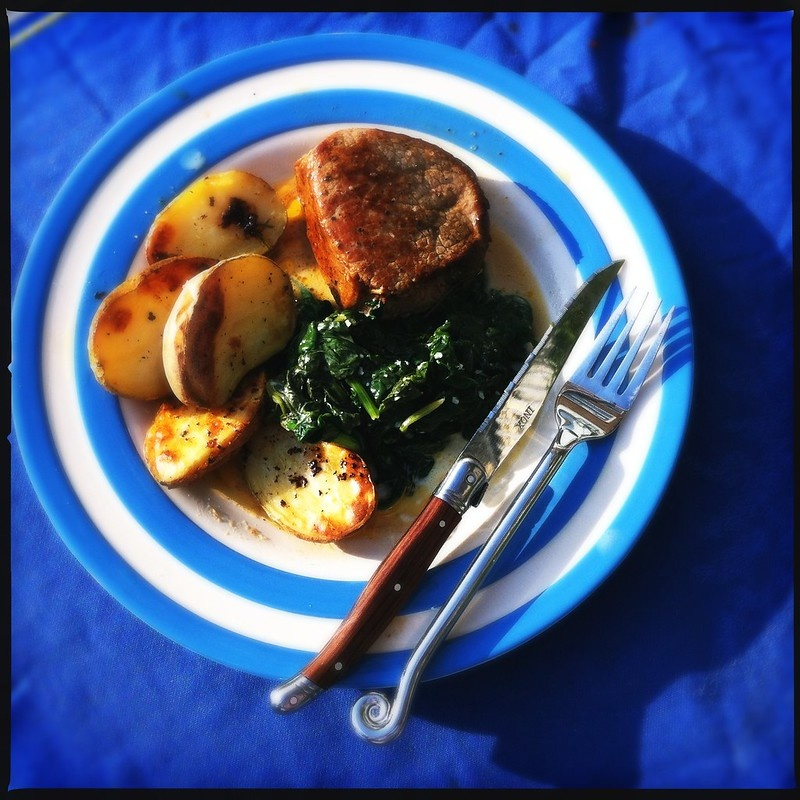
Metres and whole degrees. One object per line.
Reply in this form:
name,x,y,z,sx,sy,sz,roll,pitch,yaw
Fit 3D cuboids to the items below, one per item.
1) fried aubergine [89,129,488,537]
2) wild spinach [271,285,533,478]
fried aubergine,-0.395,-0.378,3.479,1.247,0.351,1.544,-18,84,-8
wild spinach,0.005,-0.094,3.314,0.531,0.322,0.852,12,45,16
